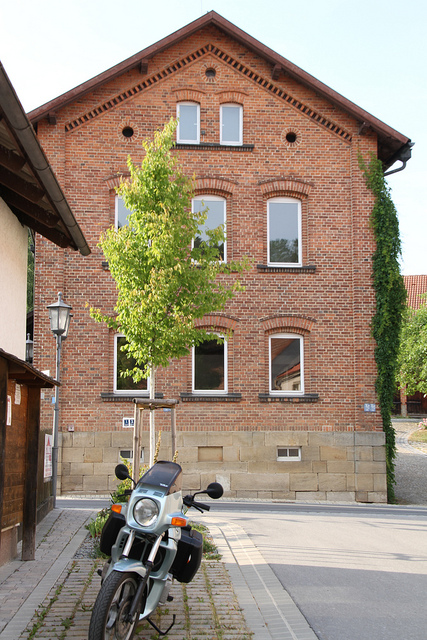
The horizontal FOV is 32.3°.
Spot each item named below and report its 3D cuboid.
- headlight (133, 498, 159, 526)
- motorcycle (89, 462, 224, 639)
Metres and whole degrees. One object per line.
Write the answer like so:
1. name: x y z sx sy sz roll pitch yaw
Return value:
1. headlight: -0.506 1.468 5.603 0.152 0.159 0.082 11 -1 15
2. motorcycle: -0.461 1.780 5.735 0.884 1.317 1.498 -1 -10 -5
